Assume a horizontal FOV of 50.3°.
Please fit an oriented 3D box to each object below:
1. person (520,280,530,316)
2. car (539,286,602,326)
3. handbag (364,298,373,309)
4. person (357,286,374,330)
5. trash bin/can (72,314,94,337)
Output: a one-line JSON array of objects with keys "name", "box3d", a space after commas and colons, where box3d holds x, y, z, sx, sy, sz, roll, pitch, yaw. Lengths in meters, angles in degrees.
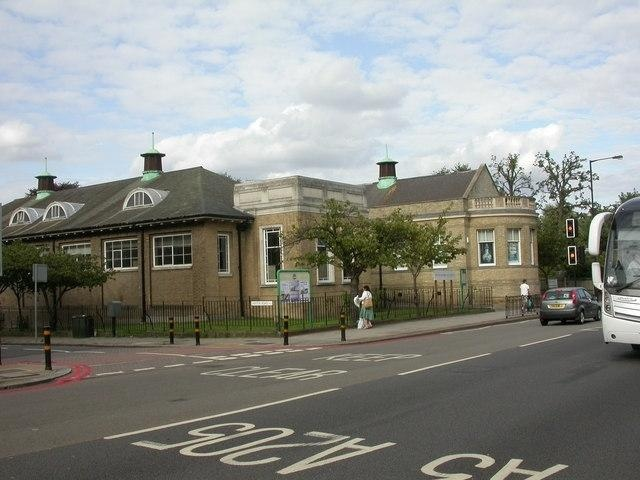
[{"name": "person", "box3d": [11.077, 3.088, 36.907, 0.390, 1.601, 1.736, -2, -2, 19]}, {"name": "car", "box3d": [11.030, 2.873, 30.082, 1.530, 1.079, 2.929, -5, -4, 33]}, {"name": "handbag", "box3d": [2.050, 2.718, 29.278, 0.426, 0.337, 0.595, 1, 7, 2]}, {"name": "person", "box3d": [1.952, 2.915, 29.714, 0.654, 1.375, 1.687, -2, -2, 3]}, {"name": "trash bin/can", "box3d": [-11.234, 4.140, 32.626, 0.963, 1.358, 0.968, -1, -7, -5]}]
